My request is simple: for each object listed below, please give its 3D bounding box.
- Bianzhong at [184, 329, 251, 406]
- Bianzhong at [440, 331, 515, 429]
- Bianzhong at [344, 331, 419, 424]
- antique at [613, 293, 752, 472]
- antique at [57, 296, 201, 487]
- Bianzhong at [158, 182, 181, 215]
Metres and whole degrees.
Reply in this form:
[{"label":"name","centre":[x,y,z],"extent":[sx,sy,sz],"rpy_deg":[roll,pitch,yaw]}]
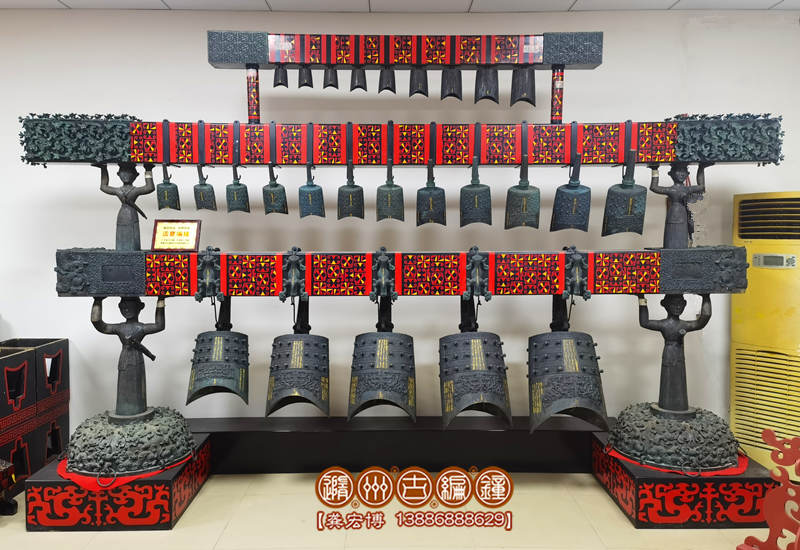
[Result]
[{"label":"Bianzhong","centre":[-1.452,0.757,5.581],"extent":[0.447,0.565,0.373],"rpy_deg":[3,-12,-12]},{"label":"Bianzhong","centre":[0.578,0.828,5.438],"extent":[0.538,0.684,0.468],"rpy_deg":[5,-19,-25]},{"label":"Bianzhong","centre":[-0.096,0.865,5.558],"extent":[0.714,0.908,0.575],"rpy_deg":[1,-21,0]},{"label":"antique","centre":[2.230,0.739,5.603],"extent":[1.141,1.374,1.157],"rpy_deg":[3,6,33]},{"label":"antique","centre":[-2.080,0.833,5.365],"extent":[0.936,1.431,0.450],"rpy_deg":[0,0,-18]},{"label":"Bianzhong","centre":[-1.867,-0.625,5.610],"extent":[0.224,0.277,0.171],"rpy_deg":[3,27,-4]}]
